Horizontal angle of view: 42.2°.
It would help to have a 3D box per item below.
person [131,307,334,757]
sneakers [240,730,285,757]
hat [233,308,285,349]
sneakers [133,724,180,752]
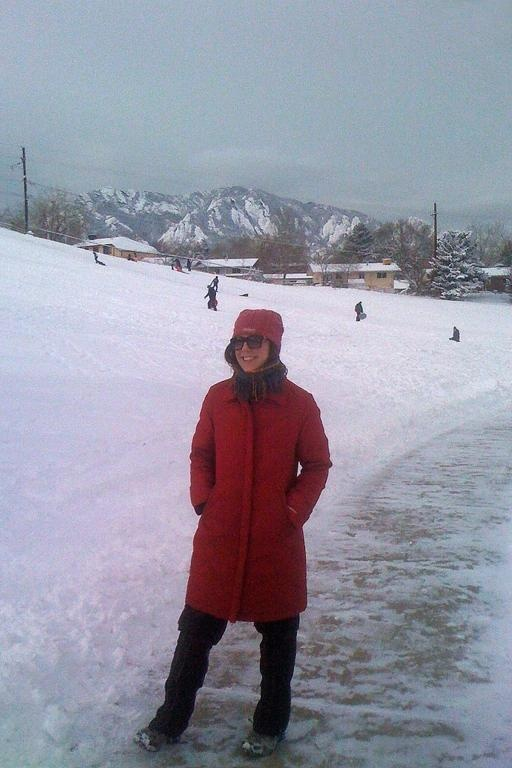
[{"bbox_3d":[-0.055,0.568,2.663,0.666,1.731,0.504,2,6,4],"label":"person"},{"bbox_3d":[0.023,1.397,2.581,0.059,0.073,0.167,-13,-27,43],"label":"sneakers"},{"bbox_3d":[0.016,-0.248,2.825,0.151,0.153,0.199,6,-12,17],"label":"hat"},{"bbox_3d":[-0.379,1.372,2.574,0.141,0.058,0.088,18,15,-23],"label":"sneakers"}]
